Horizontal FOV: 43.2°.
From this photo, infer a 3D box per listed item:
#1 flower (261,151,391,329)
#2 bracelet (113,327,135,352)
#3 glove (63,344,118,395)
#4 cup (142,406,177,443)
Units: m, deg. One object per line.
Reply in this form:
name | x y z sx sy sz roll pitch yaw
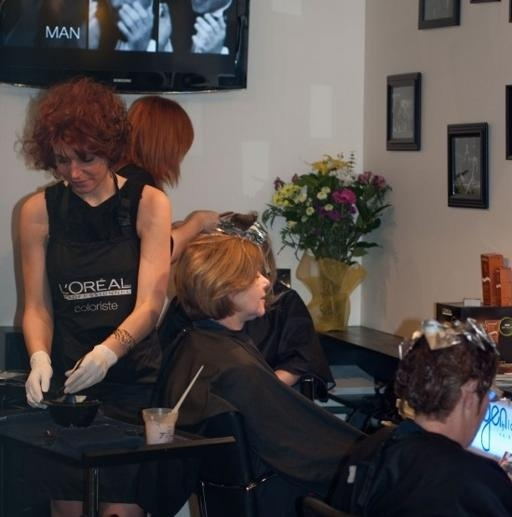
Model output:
flower | 0.367 -0.081 3.124 0.483 0.789 0.469 -5 9 -18
bracelet | -0.355 0.215 1.719 0.013 0.058 0.043 -26 20 39
glove | -0.432 0.278 1.631 0.166 0.055 0.096 1 -21 -45
cup | -0.210 0.359 1.398 0.074 0.091 0.073 1 2 0
